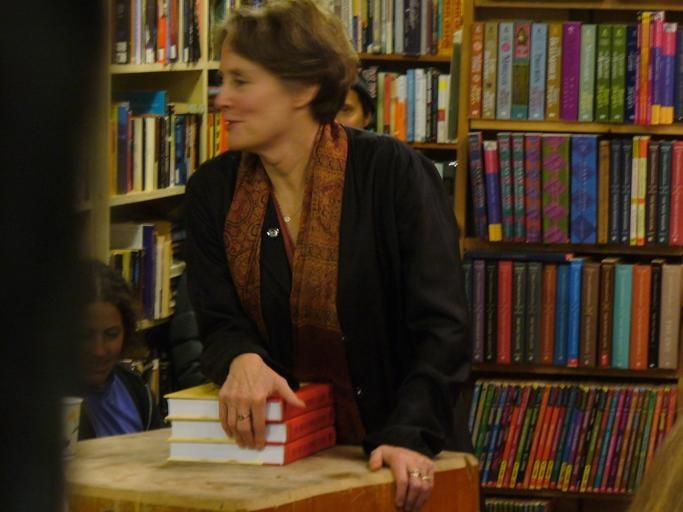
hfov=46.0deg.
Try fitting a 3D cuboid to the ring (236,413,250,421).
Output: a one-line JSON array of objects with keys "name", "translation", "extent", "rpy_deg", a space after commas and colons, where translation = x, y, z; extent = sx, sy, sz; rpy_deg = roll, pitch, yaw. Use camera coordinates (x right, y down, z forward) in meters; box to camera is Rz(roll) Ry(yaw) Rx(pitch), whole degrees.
[{"name": "ring", "translation": [-0.136, 0.224, 1.118], "extent": [0.016, 0.008, 0.010], "rpy_deg": [1, 8, -5]}]

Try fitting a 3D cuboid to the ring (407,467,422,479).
[{"name": "ring", "translation": [0.098, 0.286, 1.057], "extent": [0.019, 0.009, 0.017], "rpy_deg": [1, 8, -4]}]
